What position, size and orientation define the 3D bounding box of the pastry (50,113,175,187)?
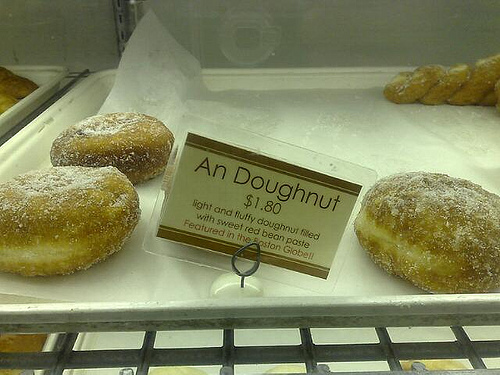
[{"bbox_3d":[-0.361,-0.161,1.167,0.300,0.196,0.314,-18,25,-30],"label":"pastry"}]
